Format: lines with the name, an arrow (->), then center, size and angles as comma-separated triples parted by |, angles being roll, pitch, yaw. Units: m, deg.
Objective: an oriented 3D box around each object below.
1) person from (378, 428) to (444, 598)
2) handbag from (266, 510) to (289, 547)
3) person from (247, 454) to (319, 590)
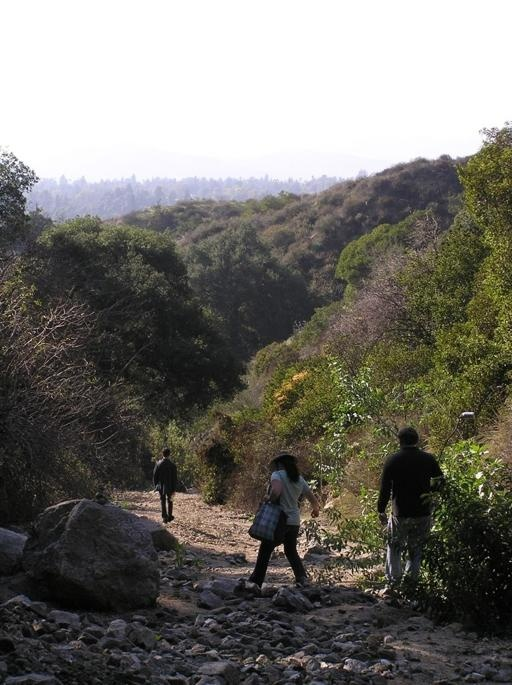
person -> 1.403, 1.601, 7.446 | 0.716, 1.548, 0.669 | 6, 9, 34
handbag -> 0.200, 1.788, 7.673 | 0.255, 0.353, 0.138 | 19, -22, -25
person -> 0.264, 1.768, 7.912 | 0.621, 1.392, 0.546 | -2, -34, 13
